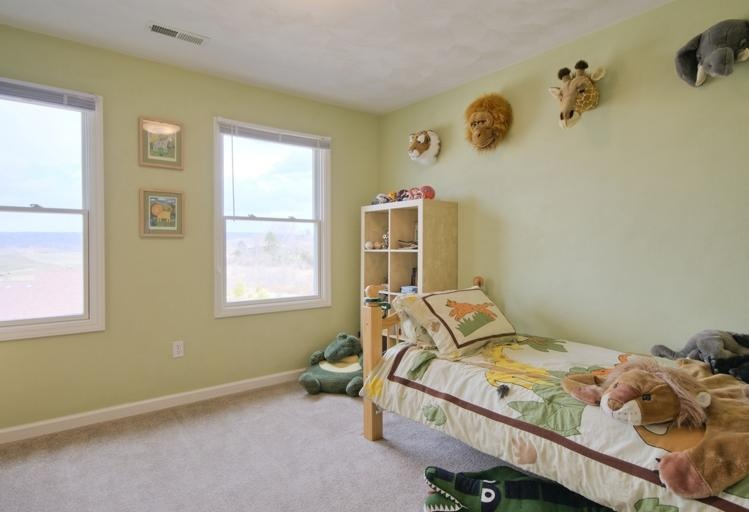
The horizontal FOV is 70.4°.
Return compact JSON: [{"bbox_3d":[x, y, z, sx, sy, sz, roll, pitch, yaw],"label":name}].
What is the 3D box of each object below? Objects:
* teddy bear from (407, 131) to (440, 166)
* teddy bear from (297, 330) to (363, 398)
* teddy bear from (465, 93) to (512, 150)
[{"bbox_3d":[0.480,-1.012,4.997,0.175,0.282,0.305,-8,-14,-33],"label":"teddy bear"},{"bbox_3d":[-0.325,0.995,5.036,0.677,0.387,0.890,5,12,14],"label":"teddy bear"},{"bbox_3d":[0.974,-1.140,4.532,0.409,0.462,0.173,0,4,23],"label":"teddy bear"}]
